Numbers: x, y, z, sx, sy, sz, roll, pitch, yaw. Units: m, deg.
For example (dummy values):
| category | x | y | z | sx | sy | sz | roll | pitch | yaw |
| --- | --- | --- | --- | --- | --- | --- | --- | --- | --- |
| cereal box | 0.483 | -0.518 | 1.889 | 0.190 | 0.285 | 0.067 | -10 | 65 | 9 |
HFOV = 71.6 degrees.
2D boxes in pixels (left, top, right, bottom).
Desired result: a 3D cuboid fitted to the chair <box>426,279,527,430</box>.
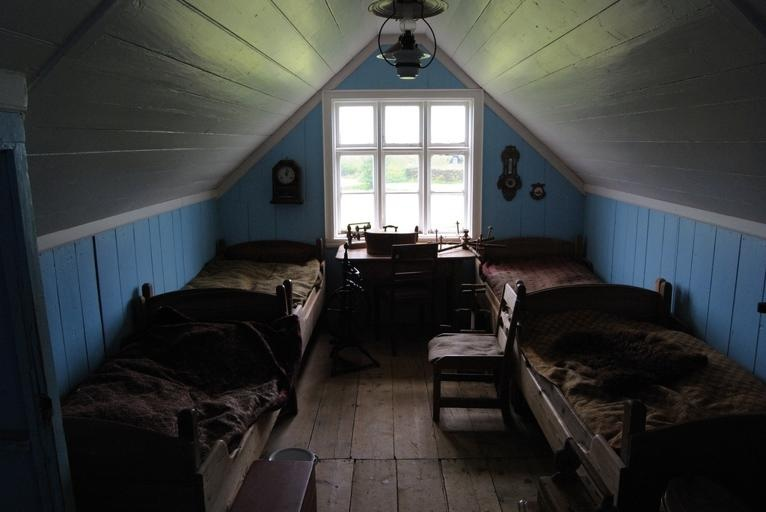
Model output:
| category | x | y | z | sx | sy | sz | roll | pitch | yaw |
| --- | --- | --- | --- | --- | --- | --- | --- | --- | --- |
| chair | 0.629 | 0.599 | 3.804 | 0.890 | 1.203 | 0.773 | 1 | 6 | 4 |

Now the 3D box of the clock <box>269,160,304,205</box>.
| category | x | y | z | sx | sy | sz | roll | pitch | yaw |
| --- | --- | --- | --- | --- | --- | --- | --- | --- | --- |
| clock | -0.924 | -0.702 | 5.122 | 0.336 | 0.413 | 0.228 | 2 | 4 | 14 |

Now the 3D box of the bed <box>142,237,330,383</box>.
| category | x | y | z | sx | sy | sz | roll | pitch | yaw |
| --- | --- | --- | --- | --- | --- | --- | --- | --- | --- |
| bed | -0.985 | 0.403 | 4.233 | 0.799 | 0.498 | 1.296 | 0 | 7 | 0 |

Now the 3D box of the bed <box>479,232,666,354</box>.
| category | x | y | z | sx | sy | sz | roll | pitch | yaw |
| --- | --- | --- | --- | --- | --- | --- | --- | --- | --- |
| bed | 1.376 | 0.242 | 4.374 | 1.035 | 0.638 | 1.686 | -1 | 10 | 1 |

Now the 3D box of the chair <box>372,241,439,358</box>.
| category | x | y | z | sx | sy | sz | roll | pitch | yaw |
| --- | --- | --- | --- | --- | --- | --- | --- | --- | --- |
| chair | 0.241 | 0.298 | 4.855 | 0.513 | 0.978 | 0.814 | 1 | 15 | 4 |
